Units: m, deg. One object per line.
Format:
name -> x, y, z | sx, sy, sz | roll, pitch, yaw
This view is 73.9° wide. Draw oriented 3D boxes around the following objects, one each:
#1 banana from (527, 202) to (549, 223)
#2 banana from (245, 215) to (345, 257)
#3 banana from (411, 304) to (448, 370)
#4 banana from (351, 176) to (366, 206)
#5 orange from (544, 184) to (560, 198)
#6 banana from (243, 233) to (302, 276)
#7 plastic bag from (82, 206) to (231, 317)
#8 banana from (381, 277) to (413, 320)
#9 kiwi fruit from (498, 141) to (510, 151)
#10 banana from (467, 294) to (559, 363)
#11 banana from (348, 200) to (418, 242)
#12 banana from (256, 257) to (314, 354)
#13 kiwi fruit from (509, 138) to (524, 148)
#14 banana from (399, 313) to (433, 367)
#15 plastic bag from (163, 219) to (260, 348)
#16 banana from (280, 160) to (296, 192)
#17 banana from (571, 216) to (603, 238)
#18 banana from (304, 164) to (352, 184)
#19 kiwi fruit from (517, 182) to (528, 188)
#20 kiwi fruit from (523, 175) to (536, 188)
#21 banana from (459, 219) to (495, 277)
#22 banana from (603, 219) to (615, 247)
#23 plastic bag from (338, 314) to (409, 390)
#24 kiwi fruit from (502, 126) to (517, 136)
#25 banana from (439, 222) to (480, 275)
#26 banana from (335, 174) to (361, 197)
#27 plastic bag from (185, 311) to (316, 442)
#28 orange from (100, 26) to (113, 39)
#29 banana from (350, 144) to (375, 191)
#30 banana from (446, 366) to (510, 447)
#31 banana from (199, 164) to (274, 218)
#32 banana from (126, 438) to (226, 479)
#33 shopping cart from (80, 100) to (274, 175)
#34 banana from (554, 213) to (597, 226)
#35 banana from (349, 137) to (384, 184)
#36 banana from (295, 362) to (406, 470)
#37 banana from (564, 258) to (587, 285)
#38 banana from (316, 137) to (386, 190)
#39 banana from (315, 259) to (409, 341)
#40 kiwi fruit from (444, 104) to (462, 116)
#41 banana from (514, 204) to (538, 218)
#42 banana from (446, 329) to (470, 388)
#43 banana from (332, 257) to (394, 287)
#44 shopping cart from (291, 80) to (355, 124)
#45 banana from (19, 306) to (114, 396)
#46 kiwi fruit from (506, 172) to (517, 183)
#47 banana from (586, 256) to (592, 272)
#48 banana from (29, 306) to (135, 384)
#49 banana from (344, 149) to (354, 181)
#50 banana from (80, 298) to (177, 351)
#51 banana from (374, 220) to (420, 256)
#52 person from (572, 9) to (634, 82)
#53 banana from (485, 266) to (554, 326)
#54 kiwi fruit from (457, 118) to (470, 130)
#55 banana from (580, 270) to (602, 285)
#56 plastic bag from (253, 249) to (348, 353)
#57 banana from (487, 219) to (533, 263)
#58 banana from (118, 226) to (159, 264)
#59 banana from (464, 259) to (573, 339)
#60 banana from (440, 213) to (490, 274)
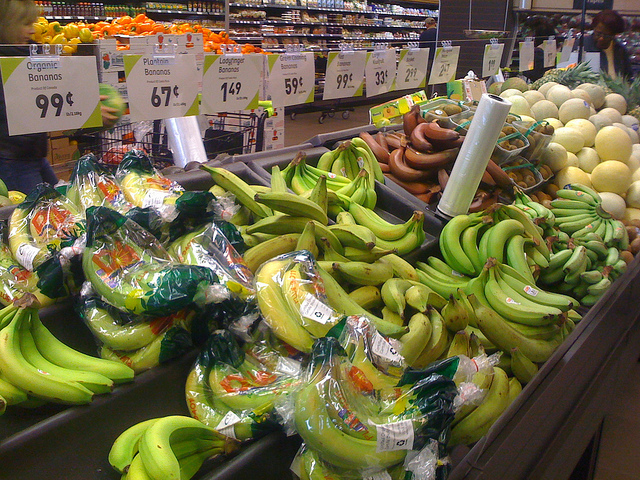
banana -> 1.016, -0.125, 1.987 | 0.048, 0.029, 0.139 | -37, 31, 9
banana -> -0.125, -0.029, 1.437 | 0.335, 0.134, 0.080 | 14, 36, 40
banana -> 0.353, 0.304, 1.279 | 0.054, 0.188, 0.096 | 15, 31, -9
banana -> 0.169, -0.197, 1.819 | 0.043, 0.058, 0.147 | 26, 59, -9
orange -> 1.354, -0.289, 2.477 | 0.066, 0.074, 0.090 | -14, 26, -36
banana -> -0.167, 0.053, 1.381 | 0.236, 0.068, 0.080 | -25, 34, 17
plastic bag -> -0.458, 0.078, 1.088 | 0.353, 0.221, 0.216 | 19, 17, 12
banana -> 0.242, 0.178, 1.325 | 0.035, 0.123, 0.073 | -11, 36, 39
kiwi fruit -> 0.975, -0.493, 2.250 | 0.054, 0.021, 0.044 | 3, 30, 1
banana -> 0.616, 0.301, 1.376 | 0.352, 0.131, 0.089 | 21, 8, -1
banana -> 0.232, -0.070, 1.696 | 0.254, 0.167, 0.089 | 20, -11, 5
banana -> -0.091, 0.168, 1.150 | 0.159, 0.091, 0.363 | 3, 31, -10
kiwi fruit -> 1.072, -0.529, 2.325 | 0.067, 0.056, 0.054 | 4, 26, 8
banana -> 0.264, 0.270, 1.205 | 0.079, 0.041, 0.145 | 11, 43, 21
plastic bag -> -0.345, 0.101, 1.216 | 0.283, 0.209, 0.522 | 0, 20, -7
banana -> -0.144, -0.295, 1.899 | 0.043, 0.170, 0.061 | 10, -19, -28
banana -> 1.299, -0.061, 2.048 | 0.266, 0.070, 0.067 | -16, 28, -40
banana -> 0.037, -0.297, 1.927 | 0.212, 0.052, 0.078 | 24, 7, 5
kiwi fruit -> 1.070, -0.289, 2.245 | 0.040, 0.035, 0.032 | 14, 3, 14
kiwi fruit -> 1.142, -0.316, 2.321 | 0.043, 0.054, 0.045 | -27, 68, 2
banana -> 0.624, 0.023, 1.753 | 0.125, 0.088, 0.372 | 27, 43, -12
banana -> 1.393, -0.033, 2.044 | 0.043, 0.083, 0.190 | 15, 24, 30
plastic bag -> 0.115, 0.296, 1.051 | 0.060, 0.175, 0.143 | -29, 9, 24
kiwi fruit -> 1.049, -0.606, 2.356 | 0.065, 0.038, 0.070 | 0, 34, -2
banana -> 0.533, 0.055, 1.706 | 0.106, 0.149, 0.036 | -25, -11, 28
banana -> 0.132, -0.245, 1.882 | 0.065, 0.052, 0.170 | 2, 25, 35
plastic bag -> -0.184, 0.313, 1.106 | 0.257, 0.166, 0.337 | 43, 29, -5
orange -> -2.438, -2.350, 4.808 | 0.129, 0.122, 0.349 | -7, 24, -24
banana -> 0.203, -0.350, 2.043 | 0.092, 0.076, 0.283 | -25, 52, 14
banana -> 0.459, 0.445, 1.182 | 0.100, 0.314, 0.080 | -4, 40, -26
banana -> -0.325, -0.199, 1.582 | 0.074, 0.090, 0.334 | 28, 4, 34
banana -> -0.295, 0.439, 0.879 | 0.176, 0.065, 0.055 | -15, 71, -44
shopping cart -> -1.237, -0.952, 4.025 | 1.603, 0.993, 0.894 | -2, 16, -23
banana -> 1.279, -0.099, 2.110 | 0.139, 0.028, 0.050 | -5, 25, -3
banana -> 0.221, -0.375, 2.066 | 0.070, 0.277, 0.085 | -21, -3, -31
banana -> 0.055, 0.373, 0.851 | 0.232, 0.170, 0.099 | 13, 22, 23
banana -> 1.054, 0.151, 1.757 | 0.157, 0.044, 0.052 | -53, 16, -13
banana -> 0.148, -0.376, 2.048 | 0.221, 0.123, 0.313 | -4, 46, -6
banana -> 0.115, 0.174, 1.217 | 0.212, 0.084, 0.049 | 41, 48, 19
kiwi fruit -> 0.765, -0.739, 2.429 | 0.063, 0.054, 0.087 | -8, 11, -20
banana -> 0.941, -0.129, 1.935 | 0.021, 0.027, 0.080 | -39, 50, 0
banana -> 0.395, 0.312, 1.208 | 0.047, 0.187, 0.059 | 9, -19, 17
banana -> 0.156, 0.111, 1.390 | 0.265, 0.107, 0.073 | -2, 4, -36
shopping cart -> 0.054, -3.346, 10.246 | 1.250, 0.901, 2.256 | 8, 22, 11
banana -> -0.624, 0.275, 1.036 | 0.242, 0.097, 0.052 | 39, 12, -5
kiwi fruit -> 1.020, -0.335, 2.256 | 0.054, 0.055, 0.057 | 18, 9, 13
banana -> 1.171, 0.105, 1.851 | 0.016, 0.055, 0.047 | -8, 15, 20
banana -> -0.592, 0.265, 1.055 | 0.218, 0.103, 0.050 | 31, 25, -3
banana -> 0.133, -0.358, 2.070 | 0.052, 0.166, 0.033 | -7, 0, -21
banana -> -0.500, 0.222, 1.074 | 0.199, 0.060, 0.118 | 7, 50, 14
banana -> 0.290, -0.005, 1.616 | 0.137, 0.047, 0.093 | -26, 48, 25
person -> 3.578, -2.409, 5.269 | 0.839, 0.728, 0.577 | -17, 28, -42
banana -> 0.667, 0.200, 1.435 | 0.075, 0.162, 0.243 | -28, 38, -25
kiwi fruit -> 0.785, -0.635, 2.307 | 0.064, 0.038, 0.070 | 10, 46, 16
banana -> 1.129, 0.157, 1.763 | 0.100, 0.049, 0.049 | -7, 23, -25
plastic bag -> -0.061, 0.164, 1.092 | 0.211, 0.096, 0.291 | -9, 45, -27
banana -> 0.739, 0.015, 1.665 | 0.145, 0.184, 0.048 | -9, 5, -33
banana -> -0.479, 0.016, 1.103 | 0.018, 0.109, 0.015 | -39, 10, 19
banana -> 0.721, 0.187, 1.503 | 0.225, 0.169, 0.296 | -31, 36, -26
banana -> 0.598, 0.013, 1.728 | 0.189, 0.107, 0.330 | 7, 48, 11
